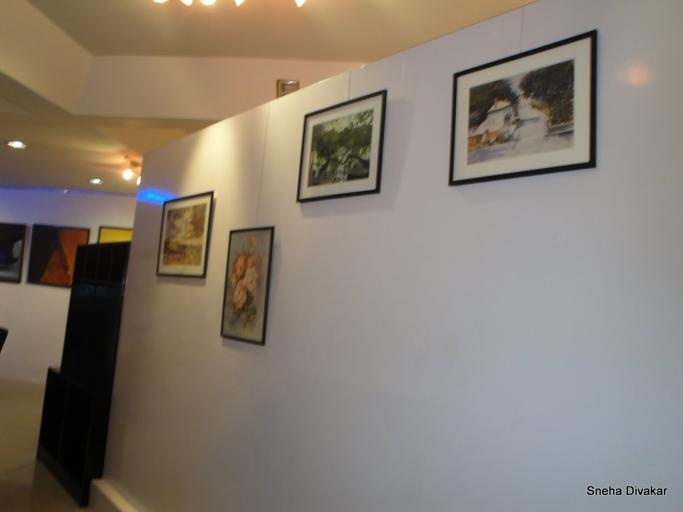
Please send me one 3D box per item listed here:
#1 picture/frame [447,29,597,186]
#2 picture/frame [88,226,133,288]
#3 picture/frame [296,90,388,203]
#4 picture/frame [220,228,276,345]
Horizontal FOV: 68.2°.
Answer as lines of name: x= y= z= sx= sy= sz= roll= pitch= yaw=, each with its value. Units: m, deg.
picture/frame: x=1.118 y=-0.872 z=3.031 sx=0.907 sy=0.823 sz=0.036 roll=-5 pitch=-15 yaw=39
picture/frame: x=-5.001 y=-0.093 z=10.683 sx=1.300 sy=1.006 sz=0.297 roll=5 pitch=1 yaw=-16
picture/frame: x=0.025 y=-0.801 z=3.770 sx=0.803 sy=0.769 sz=0.053 roll=-3 pitch=-8 yaw=42
picture/frame: x=-0.793 y=0.238 z=4.244 sx=0.568 sy=0.954 sz=0.068 roll=-1 pitch=-7 yaw=43
